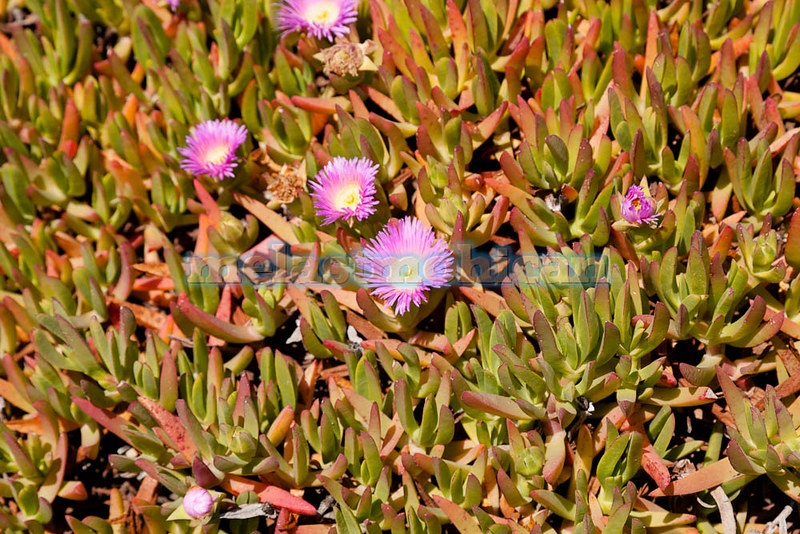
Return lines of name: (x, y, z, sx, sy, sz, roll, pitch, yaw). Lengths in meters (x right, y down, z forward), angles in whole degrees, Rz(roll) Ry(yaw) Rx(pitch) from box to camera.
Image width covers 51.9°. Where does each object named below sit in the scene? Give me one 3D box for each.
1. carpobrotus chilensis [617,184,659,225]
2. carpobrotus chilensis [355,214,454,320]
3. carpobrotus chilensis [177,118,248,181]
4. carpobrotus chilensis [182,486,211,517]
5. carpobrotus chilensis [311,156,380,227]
carpobrotus chilensis: (0.513, -0.128, 1.750, 0.075, 0.049, 0.086, -25, 77, 6)
carpobrotus chilensis: (0.017, -0.012, 1.788, 0.192, 0.093, 0.223, -11, 60, 21)
carpobrotus chilensis: (-0.438, -0.284, 1.956, 0.139, 0.066, 0.158, 4, 59, 28)
carpobrotus chilensis: (-0.417, 0.484, 1.692, 0.050, 0.035, 0.062, 13, 76, 8)
carpobrotus chilensis: (-0.125, -0.185, 1.858, 0.147, 0.065, 0.170, 1, 62, 1)
